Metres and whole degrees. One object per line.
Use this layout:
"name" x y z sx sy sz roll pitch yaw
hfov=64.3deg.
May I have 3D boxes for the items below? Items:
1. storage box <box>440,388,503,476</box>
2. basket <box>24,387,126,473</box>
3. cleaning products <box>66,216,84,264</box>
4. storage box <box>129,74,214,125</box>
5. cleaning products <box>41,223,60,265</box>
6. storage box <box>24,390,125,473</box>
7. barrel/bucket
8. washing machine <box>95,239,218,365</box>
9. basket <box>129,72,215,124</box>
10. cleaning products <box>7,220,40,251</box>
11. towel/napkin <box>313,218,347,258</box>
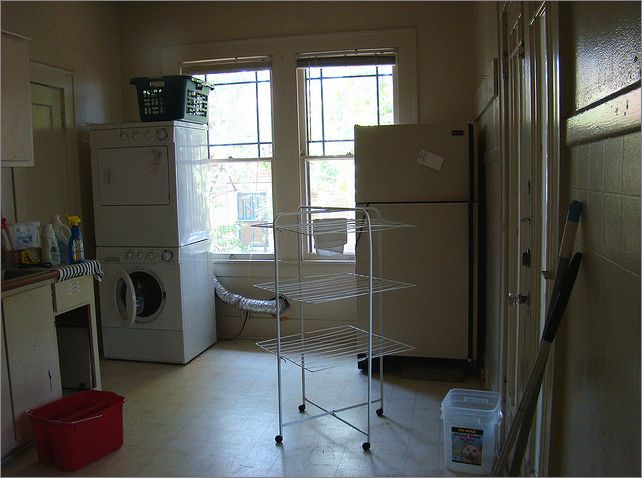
"storage box" 0.870 1.055 3.010 0.429 0.500 0.390 1 4 22
"basket" -1.523 1.166 3.185 0.410 0.343 0.474 2 3 31
"cleaning products" -1.865 -0.020 3.859 0.109 0.314 0.488 -6 12 -26
"storage box" -1.318 -1.130 4.544 0.462 0.290 0.568 0 5 22
"cleaning products" -1.939 0.037 3.654 0.107 0.284 0.183 -6 11 -25
"storage box" -1.517 1.162 3.182 0.411 0.343 0.472 2 3 31
"barrel/bucket" 0.875 1.044 3.008 0.422 0.492 0.393 -1 4 0
"washing machine" -1.446 0.526 4.792 0.920 1.399 1.018 0 1 11
"basket" -1.309 -1.244 4.553 0.463 0.289 0.567 0 4 21
"cleaning products" -2.146 -0.023 3.685 0.073 0.199 0.201 -9 -3 44
"towel/napkin" 0.055 -0.025 3.560 0.232 0.254 0.060 -2 6 -8
